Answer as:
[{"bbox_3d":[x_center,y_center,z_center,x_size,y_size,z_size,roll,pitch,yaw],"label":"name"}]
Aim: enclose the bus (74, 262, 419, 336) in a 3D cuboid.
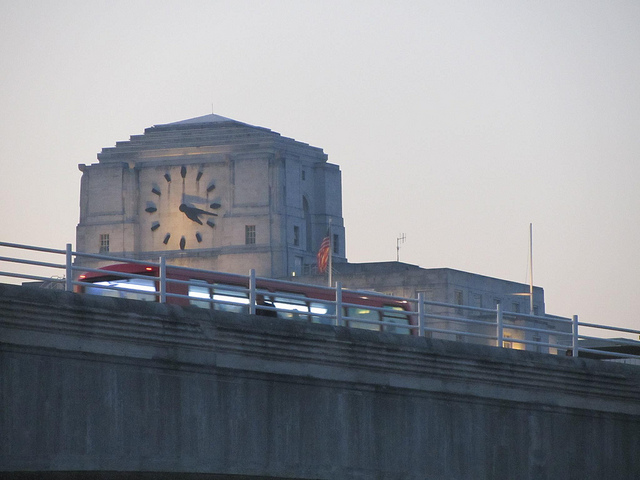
[{"bbox_3d":[-2.056,1.838,66.262,11.005,2.720,2.497,5,-5,-9],"label":"bus"}]
